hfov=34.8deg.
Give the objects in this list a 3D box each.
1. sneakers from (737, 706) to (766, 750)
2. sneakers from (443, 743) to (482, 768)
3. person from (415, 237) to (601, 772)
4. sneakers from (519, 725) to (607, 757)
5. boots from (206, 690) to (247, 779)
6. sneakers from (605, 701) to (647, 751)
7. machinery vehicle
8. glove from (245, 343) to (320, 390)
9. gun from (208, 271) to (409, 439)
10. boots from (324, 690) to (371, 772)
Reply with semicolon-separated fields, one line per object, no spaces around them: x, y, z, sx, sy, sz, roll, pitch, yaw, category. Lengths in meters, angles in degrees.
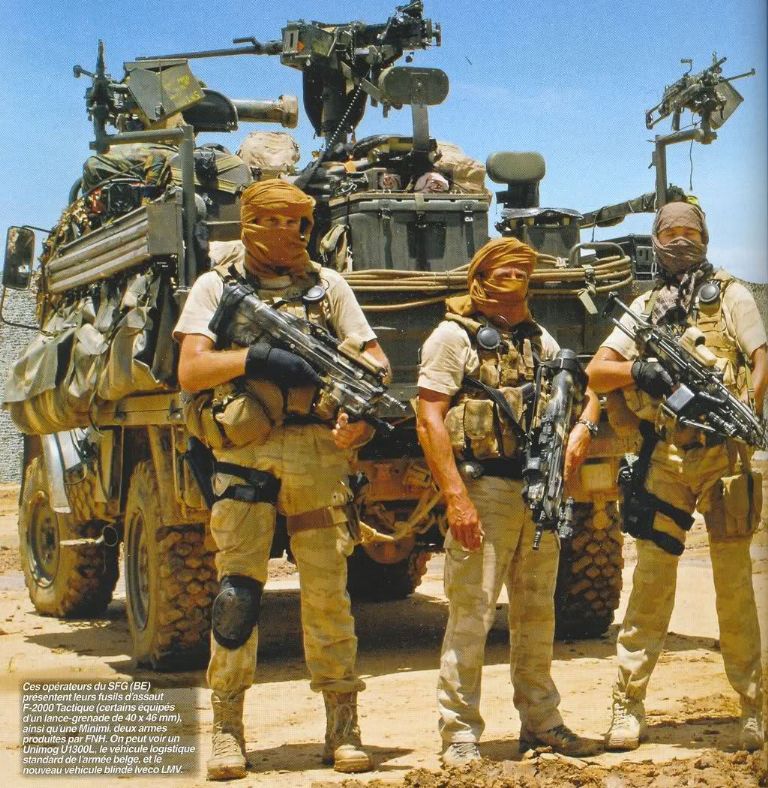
1.370;1.255;4.594;0.076;0.100;0.245;-1;-5;6;sneakers
0.278;1.279;4.357;0.061;0.067;0.162;8;-22;-23;sneakers
0.405;0.387;4.583;0.661;1.938;0.469;-4;4;-29;person
0.655;1.288;4.556;0.326;0.119;0.113;-2;-1;14;sneakers
-0.577;1.238;4.494;0.137;0.291;0.271;-2;4;-7;boots
0.919;1.268;4.695;0.111;0.139;0.190;0;4;24;sneakers
-0.692;-0.764;9.052;3.979;3.594;5.882;-1;4;-20;machinery vehicle
-0.369;-0.104;4.530;0.240;0.138;0.089;16;29;0;glove
-0.277;-0.109;4.596;0.910;0.360;0.180;34;29;27;gun
-0.137;1.257;4.576;0.180;0.270;0.313;-2;4;-2;boots
